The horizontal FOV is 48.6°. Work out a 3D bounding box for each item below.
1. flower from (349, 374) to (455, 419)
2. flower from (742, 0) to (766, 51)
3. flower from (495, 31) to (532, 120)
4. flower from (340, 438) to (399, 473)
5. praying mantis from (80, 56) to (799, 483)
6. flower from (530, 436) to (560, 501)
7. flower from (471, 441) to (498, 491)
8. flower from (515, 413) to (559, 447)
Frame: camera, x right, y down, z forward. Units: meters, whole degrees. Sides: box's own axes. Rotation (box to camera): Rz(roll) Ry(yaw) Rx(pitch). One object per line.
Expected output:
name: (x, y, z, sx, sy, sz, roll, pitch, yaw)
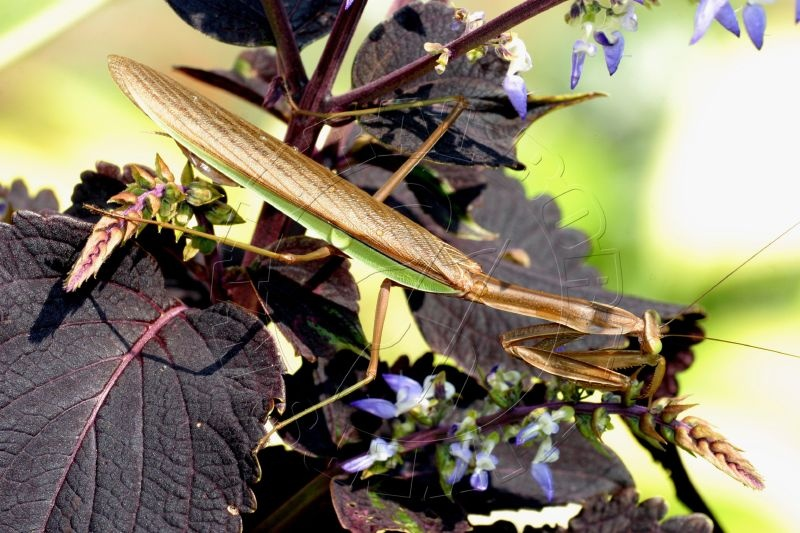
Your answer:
flower: (0.016, 0.197, 1.333, 0.111, 0.081, 0.040, 21, -59, 18)
flower: (0.486, -0.326, 1.198, 0.027, 0.066, 0.006, -3, 0, 4)
flower: (0.181, -0.278, 1.264, 0.033, 0.079, 0.105, 18, -44, 33)
flower: (-0.051, 0.286, 1.316, 0.051, 0.063, 0.022, -104, 179, -61)
praying mantis: (-0.039, -0.043, 1.297, 0.777, 0.557, 0.218, 30, -37, 0)
flower: (0.211, 0.294, 1.293, 0.026, 0.084, 0.068, 1, 9, 42)
flower: (0.121, 0.289, 1.279, 0.044, 0.068, 0.025, 13, -10, -9)
flower: (0.195, 0.240, 1.289, 0.024, 0.062, 0.036, 93, -27, -70)
